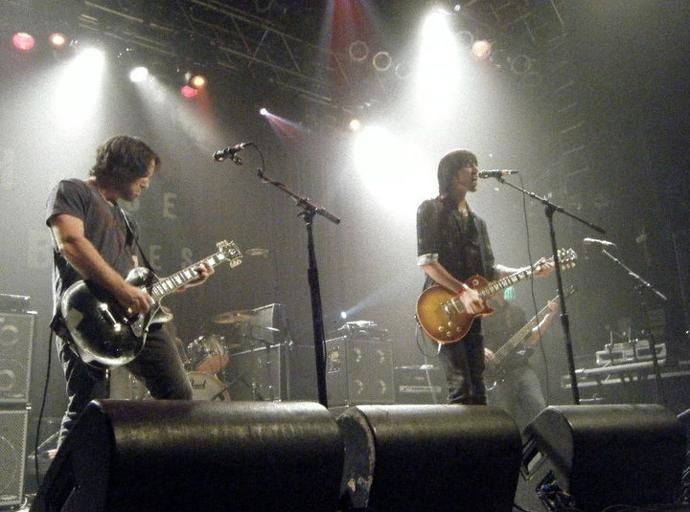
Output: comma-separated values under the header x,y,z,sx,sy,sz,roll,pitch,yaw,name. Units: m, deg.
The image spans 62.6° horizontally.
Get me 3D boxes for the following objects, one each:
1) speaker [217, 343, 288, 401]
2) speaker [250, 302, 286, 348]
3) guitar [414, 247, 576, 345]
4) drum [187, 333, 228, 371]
x,y,z,sx,sy,sz,roll,pitch,yaw,name
-1.244,1.621,7.819,0.977,0.882,0.348,-13,-20,35,speaker
-1.090,1.014,8.070,0.541,0.528,0.218,-10,-11,43,speaker
1.584,0.440,5.678,1.377,0.482,0.189,-23,-7,-25,guitar
-1.848,1.313,7.620,0.475,0.345,0.509,-22,-30,-14,drum
